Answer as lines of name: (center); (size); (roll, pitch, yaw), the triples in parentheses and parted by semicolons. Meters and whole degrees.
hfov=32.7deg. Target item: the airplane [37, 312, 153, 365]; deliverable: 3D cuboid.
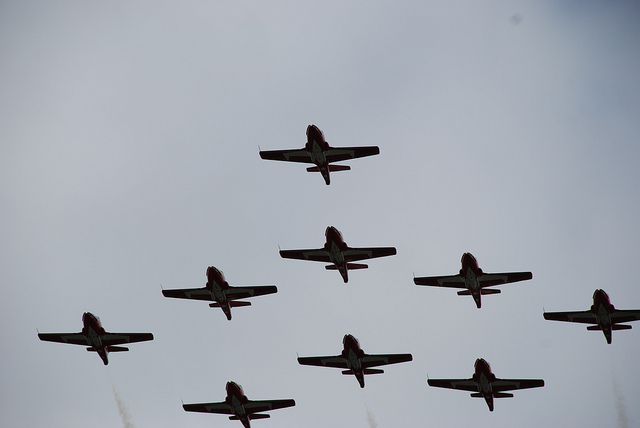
airplane: (-7.966, 4.176, 38.520); (4.009, 3.235, 1.242); (7, -72, -11)

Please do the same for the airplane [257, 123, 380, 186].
airplane: (-0.032, -2.187, 38.567); (4.303, 0.990, 3.374); (0, -36, 10)

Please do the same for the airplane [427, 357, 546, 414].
airplane: (5.778, 5.762, 38.935); (3.958, 2.897, 1.029); (0, -72, 3)
